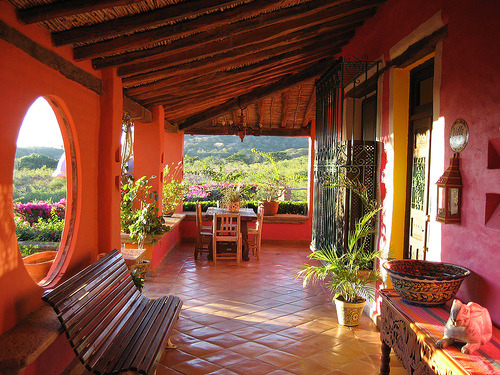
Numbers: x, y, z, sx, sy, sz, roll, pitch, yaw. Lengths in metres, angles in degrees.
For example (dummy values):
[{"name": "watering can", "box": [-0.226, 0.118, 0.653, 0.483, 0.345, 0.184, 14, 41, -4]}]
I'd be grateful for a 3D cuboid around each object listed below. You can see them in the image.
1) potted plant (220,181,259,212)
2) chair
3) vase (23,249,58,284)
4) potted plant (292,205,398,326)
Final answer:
[{"name": "potted plant", "box": [-0.388, 0.230, 8.287, 0.705, 0.601, 0.778, 0, 6, 9]}, {"name": "chair", "box": [-0.331, 0.901, 7.933, 1.201, 0.965, 1.285, 0, 7, -4]}, {"name": "vase", "box": [-2.231, 0.818, 3.859, 0.359, 0.233, 0.494, -3, -12, -5]}, {"name": "potted plant", "box": [1.360, 1.019, 5.112, 1.138, 1.783, 1.376, -3, 2, 8]}]
